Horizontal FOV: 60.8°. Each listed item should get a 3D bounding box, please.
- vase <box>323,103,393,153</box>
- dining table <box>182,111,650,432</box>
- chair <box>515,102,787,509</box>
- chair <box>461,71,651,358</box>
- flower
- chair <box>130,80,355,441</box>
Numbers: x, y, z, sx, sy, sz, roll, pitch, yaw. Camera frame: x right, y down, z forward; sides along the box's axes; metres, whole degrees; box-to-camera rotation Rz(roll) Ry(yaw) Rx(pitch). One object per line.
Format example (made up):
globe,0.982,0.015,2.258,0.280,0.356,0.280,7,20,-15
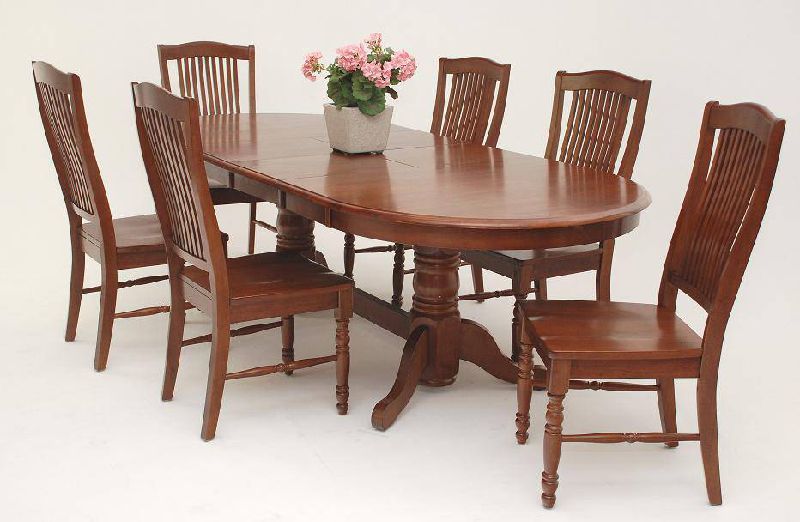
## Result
vase,-0.215,-0.643,3.379,0.283,0.207,0.278,-7,14,-35
dining table,0.081,0.216,3.661,1.074,0.813,2.335,-8,-1,-10
chair,0.895,0.129,2.682,0.837,1.374,0.696,-4,15,3
chair,0.692,-0.262,3.363,0.881,1.280,0.832,-5,22,-3
flower,-0.170,-0.942,3.297,0.535,0.283,0.331,7,34,9
chair,-0.653,-0.017,2.918,0.881,1.426,0.650,-3,24,-8
